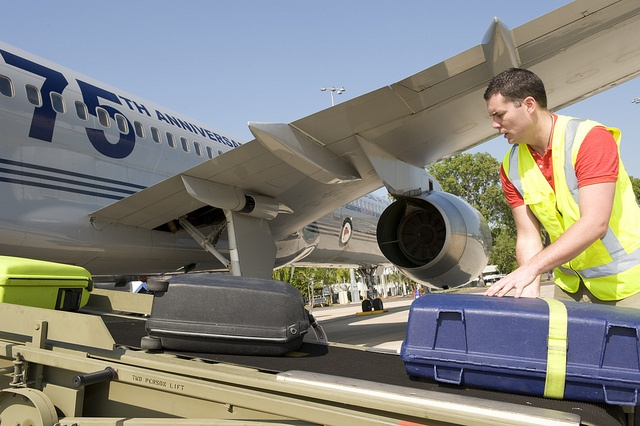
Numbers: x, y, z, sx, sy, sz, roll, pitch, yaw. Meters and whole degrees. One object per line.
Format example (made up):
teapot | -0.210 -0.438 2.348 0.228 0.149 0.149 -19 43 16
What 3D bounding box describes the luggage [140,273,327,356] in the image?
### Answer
luggage | -0.595 0.643 2.843 0.764 0.312 0.549 1 -5 4
